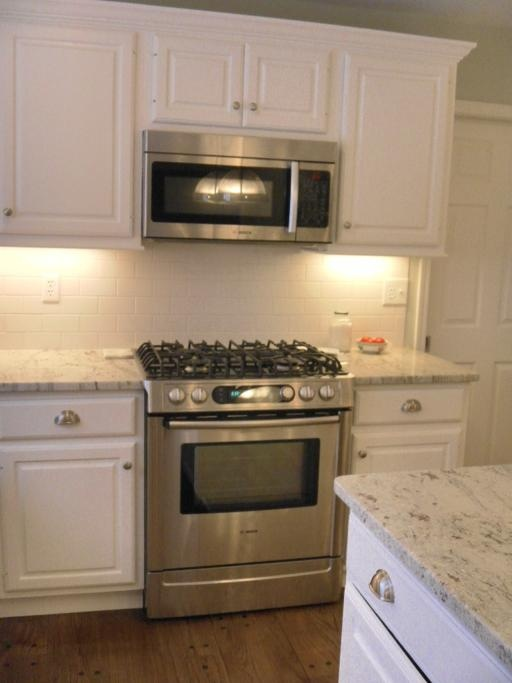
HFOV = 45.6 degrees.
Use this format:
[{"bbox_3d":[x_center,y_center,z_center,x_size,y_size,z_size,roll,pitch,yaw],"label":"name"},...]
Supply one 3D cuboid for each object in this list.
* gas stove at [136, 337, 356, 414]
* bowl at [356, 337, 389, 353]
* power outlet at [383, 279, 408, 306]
[{"bbox_3d":[-0.041,0.127,2.305,0.778,0.207,0.468,0,7,-14],"label":"gas stove"},{"bbox_3d":[0.527,0.019,2.732,0.093,0.044,0.089,0,-2,0],"label":"bowl"},{"bbox_3d":[0.675,-0.237,2.926,0.130,0.139,0.031,-2,9,-25],"label":"power outlet"}]
